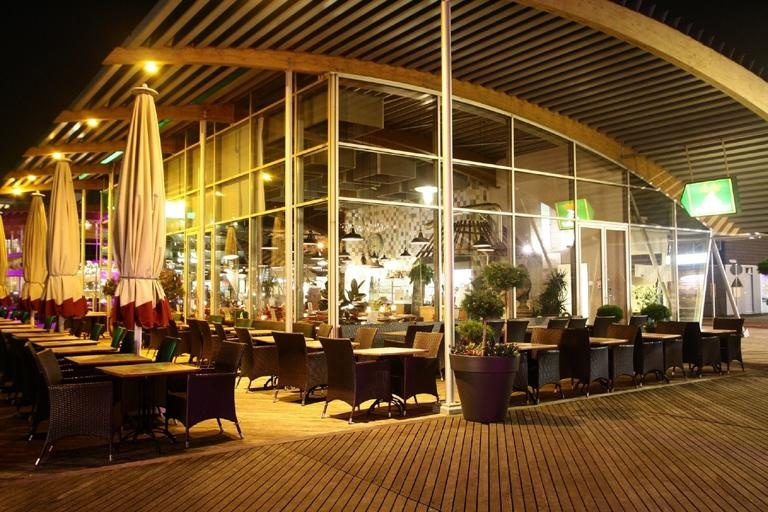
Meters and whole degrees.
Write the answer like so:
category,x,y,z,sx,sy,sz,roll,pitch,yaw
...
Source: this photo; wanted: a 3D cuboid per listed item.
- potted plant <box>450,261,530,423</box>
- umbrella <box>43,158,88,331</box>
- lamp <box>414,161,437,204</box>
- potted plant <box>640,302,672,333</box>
category,x,y,z,sx,sy,sz,roll,pitch,yaw
potted plant,1.429,1.260,8.869,0.956,2.146,1.030,3,-9,-25
umbrella,-6.520,-0.331,11.939,0.723,2.984,1.144,-2,4,-30
lamp,0.956,-1.706,13.592,0.679,0.984,0.182,-2,4,-31
potted plant,6.475,1.432,14.203,0.756,0.774,0.732,5,-6,-22
